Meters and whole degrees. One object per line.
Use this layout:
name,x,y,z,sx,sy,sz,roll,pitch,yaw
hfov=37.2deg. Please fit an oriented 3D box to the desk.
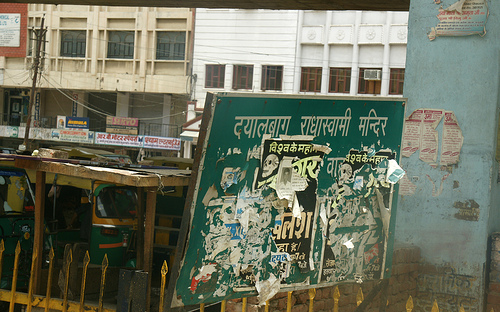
desk,-2.605,1.322,13.659,3.084,2.492,0.948,2,-2,16

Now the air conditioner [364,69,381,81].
air conditioner,5.749,-3.789,34.679,0.647,0.408,0.662,2,-2,19
